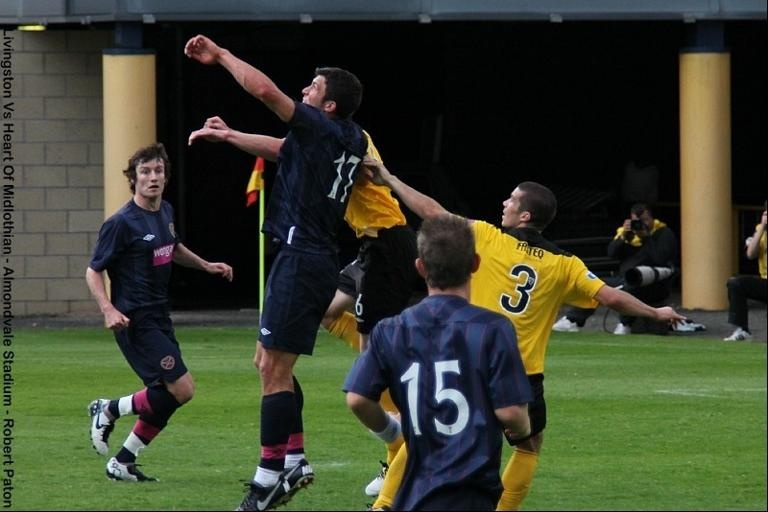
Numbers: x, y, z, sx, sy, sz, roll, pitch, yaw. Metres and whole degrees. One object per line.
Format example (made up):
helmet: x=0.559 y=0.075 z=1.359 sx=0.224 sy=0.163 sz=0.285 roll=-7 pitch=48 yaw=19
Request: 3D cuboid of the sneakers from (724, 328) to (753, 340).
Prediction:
sneakers: x=5.381 y=1.187 z=20.649 sx=0.538 sy=0.199 sz=0.163 roll=-1 pitch=0 yaw=4

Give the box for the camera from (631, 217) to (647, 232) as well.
camera: x=4.001 y=-0.499 z=21.208 sx=0.171 sy=0.207 sz=0.073 roll=-2 pitch=10 yaw=12

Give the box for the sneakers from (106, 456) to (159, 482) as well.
sneakers: x=-2.747 y=2.374 z=15.137 sx=0.676 sy=0.244 sz=0.226 roll=6 pitch=-7 yaw=-5
